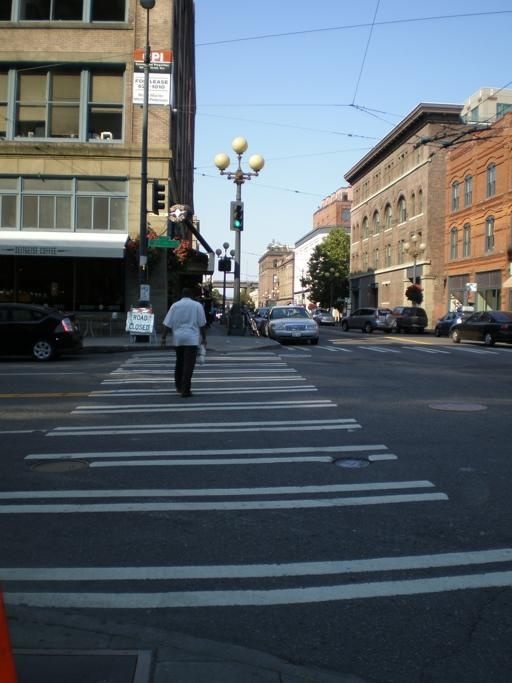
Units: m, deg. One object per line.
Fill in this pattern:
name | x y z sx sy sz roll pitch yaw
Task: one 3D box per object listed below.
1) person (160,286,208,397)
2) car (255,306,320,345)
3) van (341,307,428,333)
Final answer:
person | -1.131 -0.007 11.471 0.668 1.616 1.125 0 2 -5
car | 1.234 -0.579 27.215 1.749 1.287 2.653 0 3 -2
van | 6.971 -1.367 42.792 1.839 1.225 3.929 -2 8 -19
